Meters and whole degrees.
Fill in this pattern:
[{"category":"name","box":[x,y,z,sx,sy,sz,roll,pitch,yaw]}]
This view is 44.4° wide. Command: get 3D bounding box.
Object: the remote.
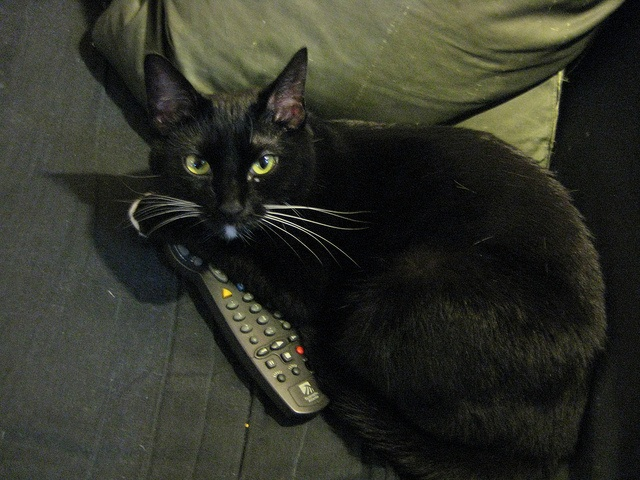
[{"category":"remote","box":[-0.200,0.208,1.914,0.225,0.063,0.589,-19,68,-44]}]
